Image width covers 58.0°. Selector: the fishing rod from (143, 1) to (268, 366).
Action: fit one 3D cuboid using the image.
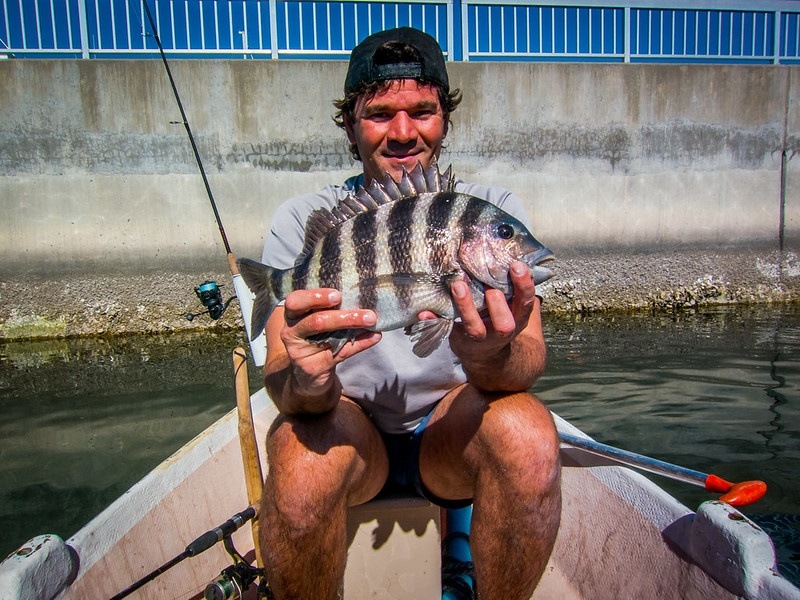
[{"bbox_3d":[-2.478,-1.191,8.897,0.470,4.985,0.218,-18,-7,1],"label":"fishing rod"}]
